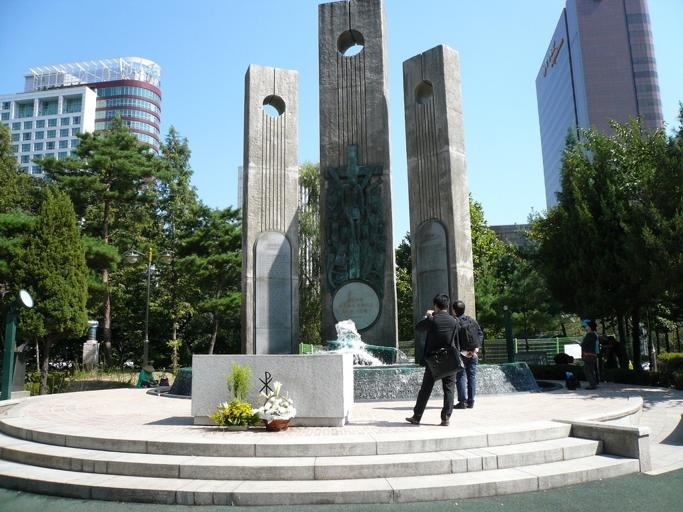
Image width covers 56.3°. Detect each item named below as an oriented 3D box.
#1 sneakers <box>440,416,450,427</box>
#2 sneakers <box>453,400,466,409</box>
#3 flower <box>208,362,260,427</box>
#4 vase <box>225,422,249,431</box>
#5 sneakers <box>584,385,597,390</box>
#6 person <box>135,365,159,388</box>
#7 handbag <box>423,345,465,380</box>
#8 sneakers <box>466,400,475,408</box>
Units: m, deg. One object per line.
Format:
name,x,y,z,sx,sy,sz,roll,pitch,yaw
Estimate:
sneakers,2.180,3.525,13.572,0.201,0.189,0.279,-2,-10,6
sneakers,2.892,3.672,15.639,0.329,0.256,0.129,0,-12,1
flower,-2.249,2.994,13.613,0.988,1.340,0.533,-1,-9,-3
vase,-2.206,3.599,13.408,0.488,0.155,0.135,-4,-10,14
sneakers,7.491,3.996,19.273,0.377,0.188,0.147,-1,-3,11
person,-7.558,4.658,24.819,0.614,0.832,2.357,1,-10,-16
handbag,2.075,2.264,13.607,0.643,0.631,0.395,-12,2,-12
sneakers,3.147,3.674,15.653,0.117,0.144,0.138,2,-11,-6
